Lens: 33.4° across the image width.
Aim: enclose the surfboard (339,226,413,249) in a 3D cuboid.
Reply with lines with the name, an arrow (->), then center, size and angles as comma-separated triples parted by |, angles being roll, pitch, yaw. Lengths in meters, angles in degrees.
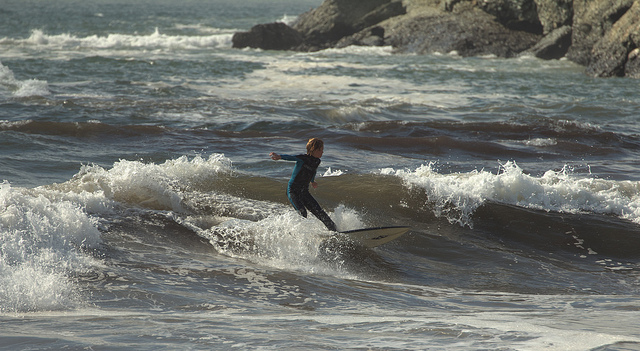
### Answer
surfboard -> 2.641, 2.860, 48.492 | 3.845, 0.879, 1.116 | 1, -1, -20
